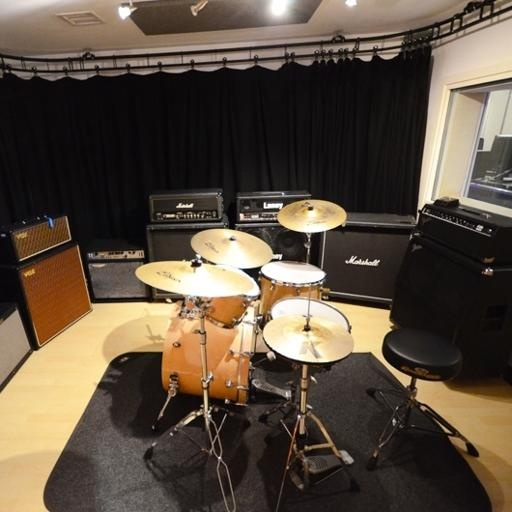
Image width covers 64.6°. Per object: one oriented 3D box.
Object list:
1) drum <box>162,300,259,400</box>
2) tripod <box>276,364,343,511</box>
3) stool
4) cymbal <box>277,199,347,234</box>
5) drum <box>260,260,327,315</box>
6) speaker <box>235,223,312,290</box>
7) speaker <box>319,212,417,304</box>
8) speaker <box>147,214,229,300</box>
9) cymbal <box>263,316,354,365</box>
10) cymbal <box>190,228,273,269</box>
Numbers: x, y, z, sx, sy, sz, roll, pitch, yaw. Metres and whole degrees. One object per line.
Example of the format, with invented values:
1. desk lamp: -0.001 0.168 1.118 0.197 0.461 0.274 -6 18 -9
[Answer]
1. drum: -0.331 0.794 2.980 0.614 0.746 0.772 6 -18 -7
2. tripod: 0.330 1.150 2.516 0.478 0.733 0.527 -4 23 0
3. stool: 1.042 0.836 2.828 0.701 0.707 0.714 7 27 17
4. cymbal: 0.453 -0.333 3.374 0.533 0.178 0.350 2 20 2
5. drum: 0.242 0.314 3.402 0.498 0.478 0.518 14 -20 -1
6. speaker: 0.174 0.020 4.089 0.676 0.391 0.660 -4 45 4
7. speaker: 1.040 -0.052 4.188 0.807 0.846 0.618 3 26 -2
8. speaker: -0.657 0.160 4.132 0.849 0.518 0.855 -3 59 -15
9. cymbal: 0.282 0.456 2.258 0.493 0.081 0.396 5 21 11
10. cymbal: -0.147 -0.073 2.540 0.461 0.104 0.460 -18 -18 40
